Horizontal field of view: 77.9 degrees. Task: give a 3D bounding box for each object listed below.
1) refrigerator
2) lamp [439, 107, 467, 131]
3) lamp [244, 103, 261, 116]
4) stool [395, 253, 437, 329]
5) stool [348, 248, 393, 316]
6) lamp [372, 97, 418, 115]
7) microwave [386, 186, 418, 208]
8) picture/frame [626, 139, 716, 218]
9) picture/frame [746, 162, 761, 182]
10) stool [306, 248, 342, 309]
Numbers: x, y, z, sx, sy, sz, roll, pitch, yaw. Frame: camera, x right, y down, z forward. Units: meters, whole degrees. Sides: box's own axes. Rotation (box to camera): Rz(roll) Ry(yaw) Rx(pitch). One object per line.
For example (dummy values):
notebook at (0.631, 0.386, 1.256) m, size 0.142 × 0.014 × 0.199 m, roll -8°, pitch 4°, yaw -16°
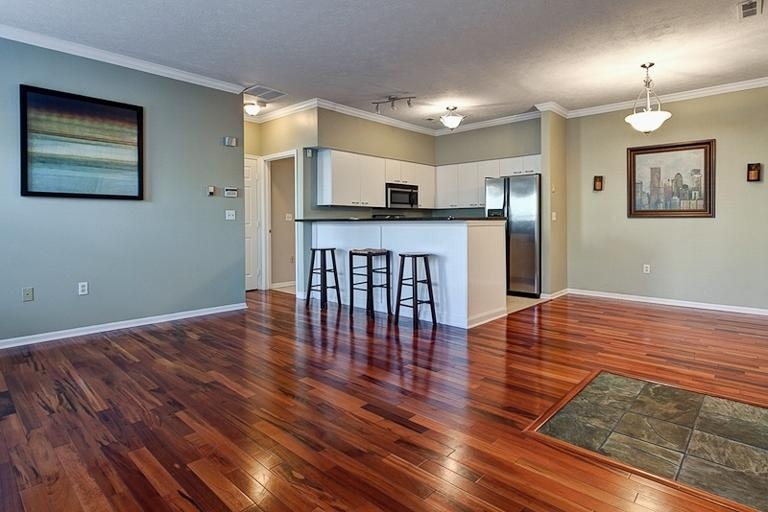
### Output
refrigerator at (2.193, -0.342, 7.795) m, size 0.370 × 1.942 × 1.013 m, roll -8°, pitch 13°, yaw -35°
lamp at (1.029, -2.150, 7.383) m, size 0.404 × 0.301 × 0.410 m, roll 1°, pitch 4°, yaw 30°
lamp at (-2.012, -2.243, 7.233) m, size 0.220 × 0.078 × 0.216 m, roll 1°, pitch -5°, yaw -43°
stool at (0.351, 0.404, 6.002) m, size 0.480 × 0.895 × 0.758 m, roll -9°, pitch 13°, yaw -38°
stool at (-0.189, 0.351, 6.552) m, size 0.575 × 0.814 × 0.574 m, roll 1°, pitch 4°, yaw 21°
lamp at (0.170, -2.367, 7.428) m, size 0.771 × 0.153 × 0.609 m, roll 5°, pitch 11°, yaw 25°
microwave at (0.327, -1.064, 8.539) m, size 0.661 × 0.416 × 0.398 m, roll 1°, pitch -2°, yaw -43°
picture/frame at (4.242, -1.140, 6.951) m, size 1.201 × 1.211 × 0.097 m, roll 3°, pitch 3°, yaw 40°
picture/frame at (4.990, -1.125, 6.434) m, size 0.168 × 0.242 × 0.087 m, roll 7°, pitch 13°, yaw 35°
stool at (-0.889, 0.319, 7.063) m, size 0.534 × 0.812 × 0.520 m, roll -2°, pitch 4°, yaw -44°
